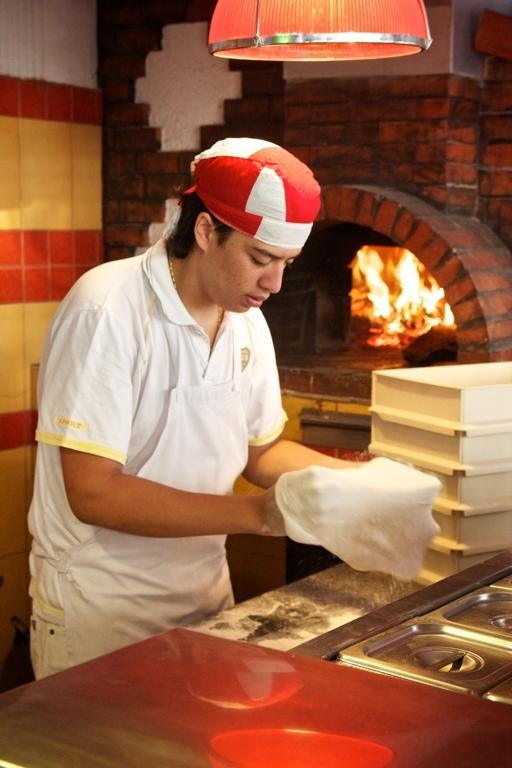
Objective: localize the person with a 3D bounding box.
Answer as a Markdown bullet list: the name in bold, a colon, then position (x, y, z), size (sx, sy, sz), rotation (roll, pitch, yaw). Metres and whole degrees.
- **person**: position (-0.173, 0.080, 1.379), size (0.656, 1.055, 0.531), rotation (1, -10, 10)

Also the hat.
- **hat**: position (-0.014, -0.335, 1.280), size (0.185, 0.137, 0.239), rotation (-23, 47, -36)

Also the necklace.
- **necklace**: position (-0.141, -0.170, 1.402), size (0.046, 0.150, 0.125), rotation (-11, -7, 37)
